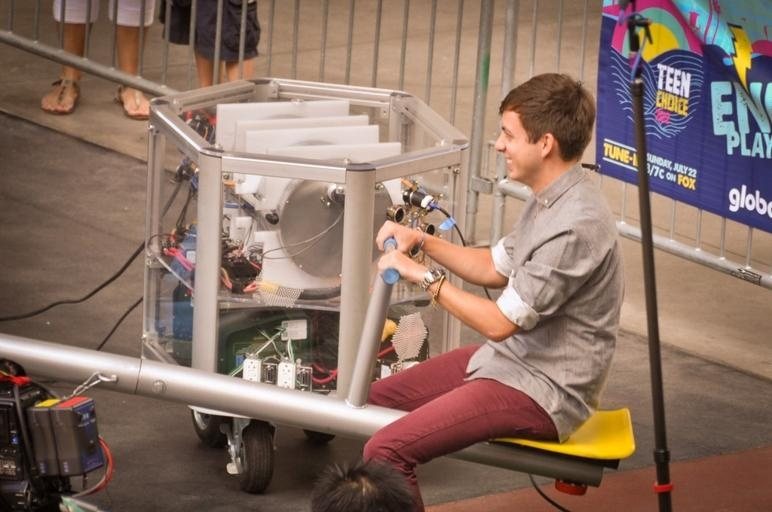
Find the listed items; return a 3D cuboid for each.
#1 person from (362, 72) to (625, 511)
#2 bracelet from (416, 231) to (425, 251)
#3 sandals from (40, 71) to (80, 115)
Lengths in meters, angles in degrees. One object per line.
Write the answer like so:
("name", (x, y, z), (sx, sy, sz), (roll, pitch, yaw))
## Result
("person", (0.546, 0.070, 4.500), (1.174, 1.910, 0.816), (5, 10, -7))
("bracelet", (0.180, -0.065, 4.733), (0.028, 0.070, 0.053), (9, -2, -5))
("sandals", (-2.723, -1.385, 7.914), (0.200, 0.228, 0.550), (18, 20, -10))
